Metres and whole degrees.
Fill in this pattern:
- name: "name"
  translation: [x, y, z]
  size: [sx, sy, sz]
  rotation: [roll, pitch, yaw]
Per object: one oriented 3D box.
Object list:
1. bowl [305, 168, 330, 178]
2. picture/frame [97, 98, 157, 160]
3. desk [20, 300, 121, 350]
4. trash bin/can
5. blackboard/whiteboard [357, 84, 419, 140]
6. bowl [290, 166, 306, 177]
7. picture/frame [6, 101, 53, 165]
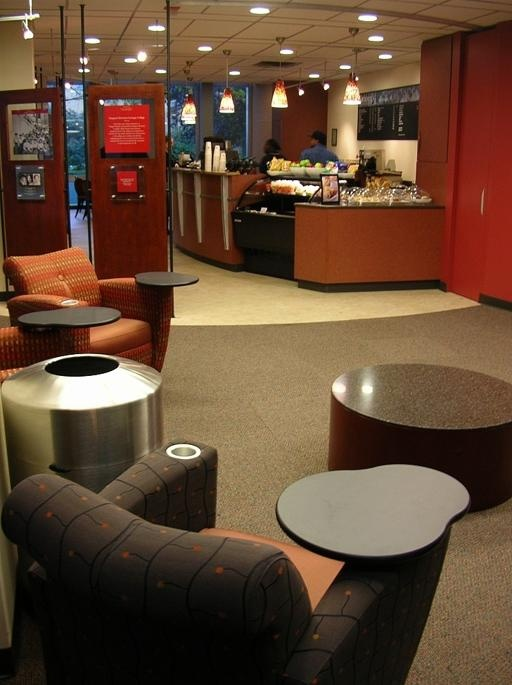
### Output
- name: "bowl"
  translation: [0.933, -2.544, 7.873]
  size: [0.422, 0.166, 0.428]
  rotation: [-1, 13, 0]
- name: "picture/frame"
  translation: [-1.279, -2.138, 5.208]
  size: [0.556, 0.547, 0.059]
  rotation: [0, 31, 2]
- name: "desk"
  translation: [-0.857, -0.076, 2.516]
  size: [0.406, 0.262, 0.504]
  rotation: [4, -4, 4]
- name: "trash bin/can"
  translation: [-0.632, 0.224, 1.958]
  size: [0.444, 0.501, 0.495]
  rotation: [1, 13, 1]
- name: "blackboard/whiteboard"
  translation: [2.675, -4.679, 10.771]
  size: [0.023, 0.896, 1.517]
  rotation: [-21, 27, -35]
- name: "bowl"
  translation: [0.660, -2.646, 8.173]
  size: [0.183, 0.106, 0.181]
  rotation: [2, 9, 0]
- name: "picture/frame"
  translation: [-2.481, -2.331, 5.782]
  size: [0.598, 0.693, 0.068]
  rotation: [5, 26, 5]
